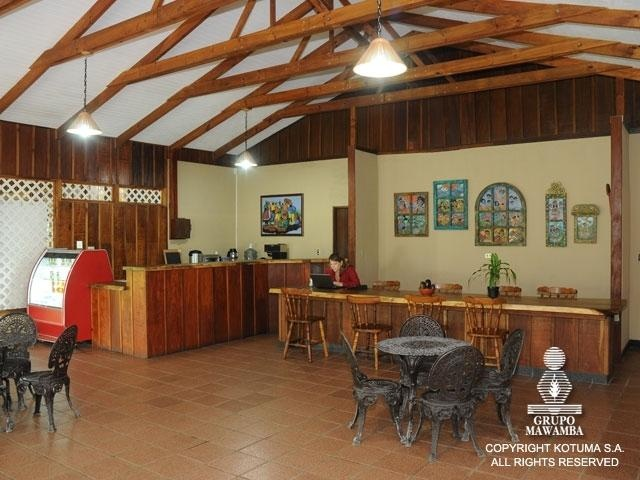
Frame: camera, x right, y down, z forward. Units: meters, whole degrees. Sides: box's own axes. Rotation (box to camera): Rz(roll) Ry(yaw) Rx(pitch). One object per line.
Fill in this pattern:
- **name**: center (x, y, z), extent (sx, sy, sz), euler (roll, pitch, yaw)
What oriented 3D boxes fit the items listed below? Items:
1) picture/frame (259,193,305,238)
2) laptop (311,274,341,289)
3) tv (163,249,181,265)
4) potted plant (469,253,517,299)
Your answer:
- **picture/frame**: center (-0.890, -0.602, 12.109), extent (1.097, 0.905, 0.046), euler (0, 0, 29)
- **laptop**: center (0.037, 0.659, 7.864), extent (0.310, 0.188, 0.281), euler (0, 1, 38)
- **tv**: center (-3.240, 0.371, 10.903), extent (0.027, 0.360, 0.318), euler (-18, -8, 38)
- **potted plant**: center (2.435, 0.497, 6.918), extent (0.579, 0.577, 0.509), euler (-4, 7, -22)
